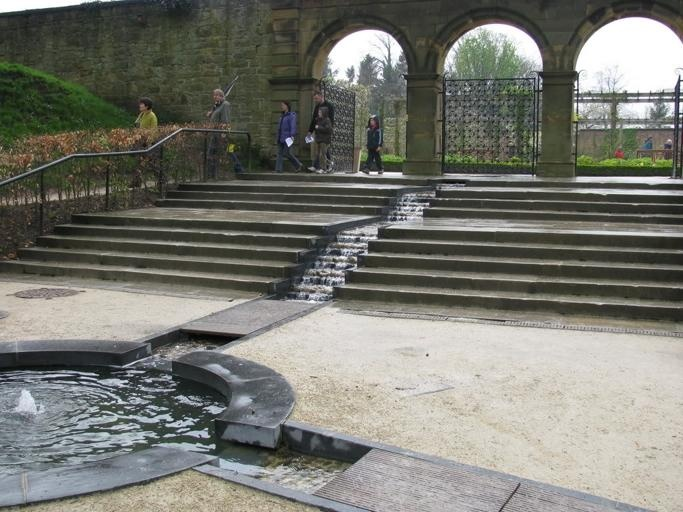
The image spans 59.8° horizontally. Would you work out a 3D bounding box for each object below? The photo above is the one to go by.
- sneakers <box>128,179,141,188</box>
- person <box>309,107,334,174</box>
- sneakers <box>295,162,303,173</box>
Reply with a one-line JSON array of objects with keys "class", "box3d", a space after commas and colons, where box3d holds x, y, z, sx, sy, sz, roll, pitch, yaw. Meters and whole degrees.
[{"class": "sneakers", "box3d": [-4.705, -1.648, 13.547, 0.299, 0.192, 0.271, 0, 2, -7]}, {"class": "person", "box3d": [-0.560, -3.285, 16.922, 0.535, 1.841, 1.177, 1, 8, -3]}, {"class": "sneakers", "box3d": [-1.233, -2.502, 16.730, 0.230, 0.272, 0.644, -16, 8, 5]}]
